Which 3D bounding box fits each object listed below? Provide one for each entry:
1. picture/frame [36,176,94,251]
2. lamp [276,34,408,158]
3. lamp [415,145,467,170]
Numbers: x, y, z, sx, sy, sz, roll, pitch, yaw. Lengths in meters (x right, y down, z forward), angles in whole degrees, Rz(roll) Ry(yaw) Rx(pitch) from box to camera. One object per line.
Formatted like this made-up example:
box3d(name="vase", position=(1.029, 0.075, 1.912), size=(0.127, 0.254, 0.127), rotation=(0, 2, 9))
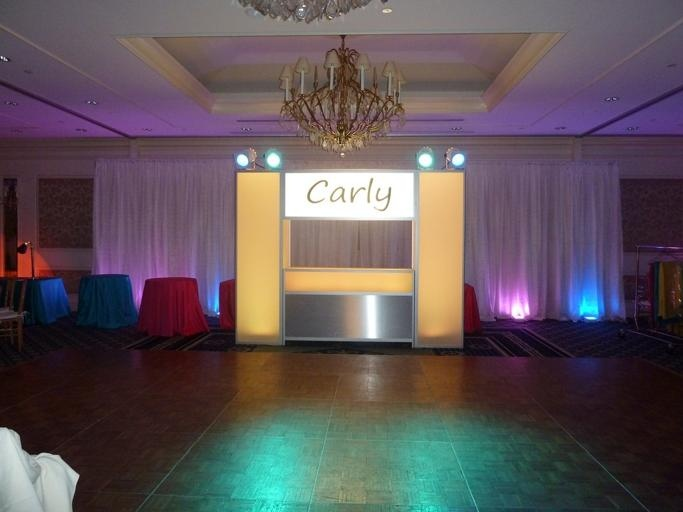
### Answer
box3d(name="picture/frame", position=(-5.476, -0.837, 9.009), size=(1.041, 1.363, 0.338), rotation=(2, 9, 9))
box3d(name="lamp", position=(0.025, -2.100, 6.131), size=(1.506, 1.961, 1.546), rotation=(-1, 10, -5))
box3d(name="lamp", position=(1.453, -1.367, 6.484), size=(0.611, 0.288, 0.833), rotation=(4, 10, 18))
